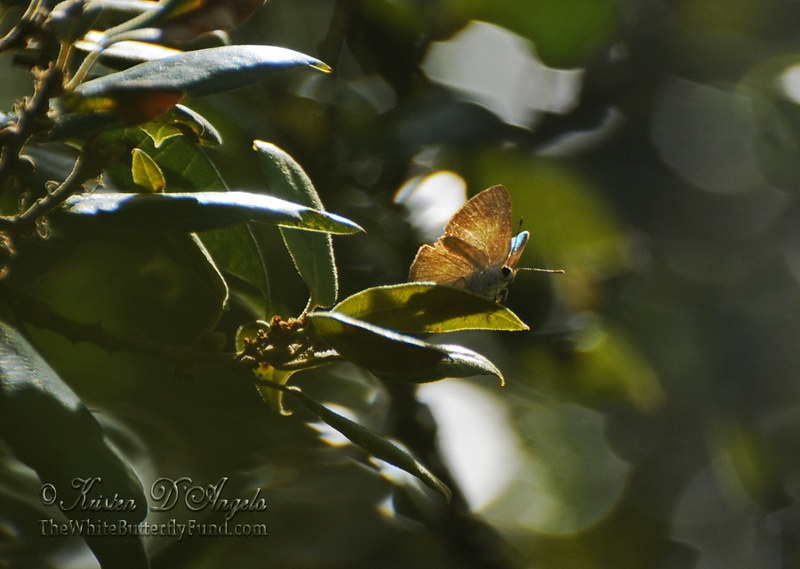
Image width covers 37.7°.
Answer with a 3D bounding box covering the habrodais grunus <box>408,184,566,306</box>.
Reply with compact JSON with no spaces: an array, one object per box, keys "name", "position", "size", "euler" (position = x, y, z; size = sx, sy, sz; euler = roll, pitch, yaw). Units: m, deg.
[{"name":"habrodais grunus","position":[0.211,-0.100,2.796],"size":[0.273,0.305,0.161],"euler":[19,75,20]}]
